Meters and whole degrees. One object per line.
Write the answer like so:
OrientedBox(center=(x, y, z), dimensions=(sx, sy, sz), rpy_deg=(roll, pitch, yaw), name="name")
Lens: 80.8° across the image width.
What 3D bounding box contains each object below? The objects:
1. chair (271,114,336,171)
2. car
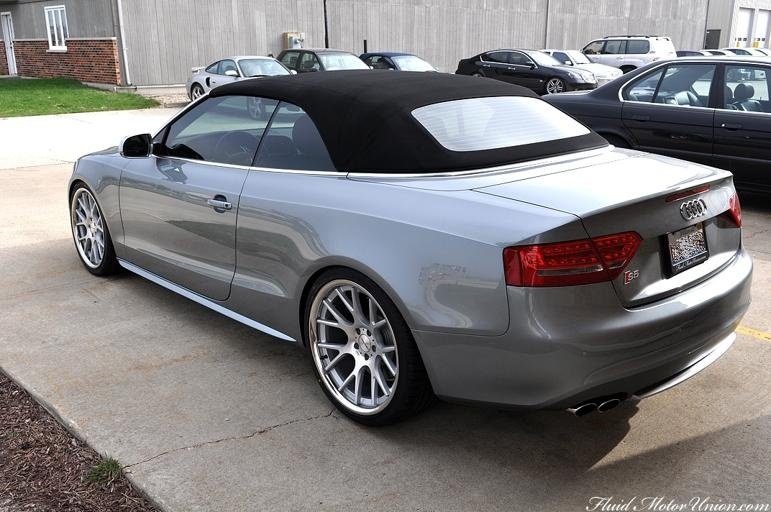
OrientedBox(center=(-0.532, -0.722, 3.034), dimensions=(0.621, 0.369, 0.230), rpy_deg=(8, 3, 41), name="chair")
OrientedBox(center=(-0.418, -0.323, 3.641), dimensions=(4.887, 1.349, 2.350), rpy_deg=(16, 21, 38), name="car")
